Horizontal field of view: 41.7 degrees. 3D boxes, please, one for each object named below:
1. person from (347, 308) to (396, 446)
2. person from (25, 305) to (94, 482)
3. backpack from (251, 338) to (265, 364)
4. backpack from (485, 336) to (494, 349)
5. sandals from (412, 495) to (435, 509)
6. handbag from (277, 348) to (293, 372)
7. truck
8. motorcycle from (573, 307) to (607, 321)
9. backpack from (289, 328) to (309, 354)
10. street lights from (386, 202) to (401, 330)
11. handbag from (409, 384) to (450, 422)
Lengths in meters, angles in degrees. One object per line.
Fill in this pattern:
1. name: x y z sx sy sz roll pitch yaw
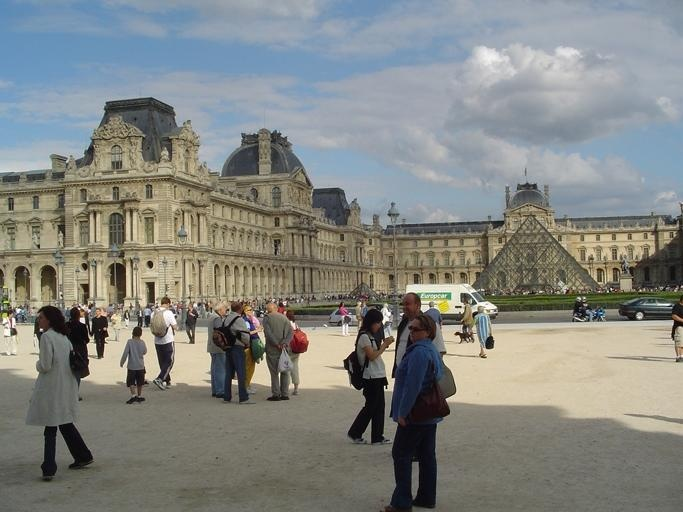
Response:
1. person: 0.584 2.457 18.053 1.079 2.424 1.223 -1 4 10
2. person: -5.202 2.506 16.471 0.581 3.144 1.010 -2 -4 35
3. backpack: -2.076 2.339 22.103 0.355 0.592 0.731 1 -3 -6
4. backpack: 4.887 2.914 29.711 0.346 0.467 0.464 -2 29 9
5. sandals: 1.376 4.174 15.147 0.156 0.161 0.399 2 1 -35
6. handbag: -1.381 2.516 21.529 0.290 0.561 0.365 -1 -3 25
7. truck: 5.993 2.537 48.097 4.832 2.092 2.302 -2 0 28
8. motorcycle: 12.162 2.904 44.239 1.623 0.852 0.622 -7 14 -21
9. backpack: -1.051 2.100 21.885 0.411 0.630 0.841 0 -3 -3
10. street lights: 2.653 -0.359 45.546 0.881 4.881 0.876 -1 -2 -22
11. handbag: 1.403 2.420 14.742 0.699 0.823 0.290 -2 5 -2
